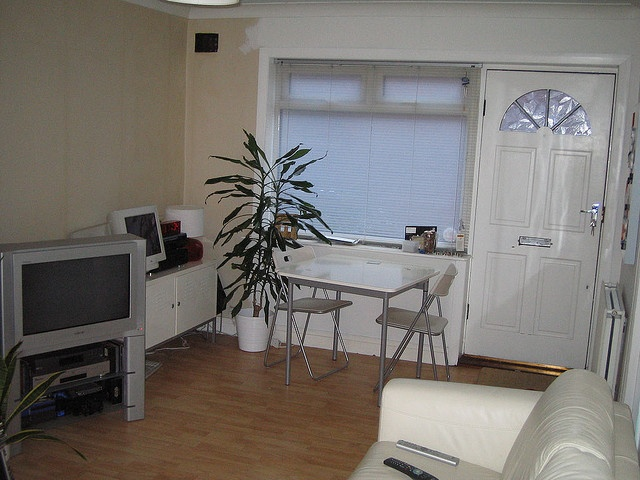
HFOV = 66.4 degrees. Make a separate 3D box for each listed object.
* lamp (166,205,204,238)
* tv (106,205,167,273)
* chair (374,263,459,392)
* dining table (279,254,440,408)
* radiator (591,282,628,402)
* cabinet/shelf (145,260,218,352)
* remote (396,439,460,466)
[{"bbox_3d":[-1.373,-0.180,5.010,0.328,0.259,0.326,-2,5,-39],"label":"lamp"},{"bbox_3d":[-1.649,-0.017,4.383,0.366,0.672,0.488,-6,7,-29],"label":"tv"},{"bbox_3d":[0.831,0.801,4.356,0.632,1.080,0.595,5,3,12],"label":"chair"},{"bbox_3d":[0.359,0.698,4.407,1.180,1.092,1.197,5,8,29],"label":"dining table"},{"bbox_3d":[2.131,0.735,3.557,0.120,0.882,0.702,4,13,22],"label":"radiator"},{"bbox_3d":[-1.456,0.591,4.590,0.327,0.623,1.258,7,8,22],"label":"cabinet/shelf"},{"bbox_3d":[0.541,1.052,2.399,0.206,0.036,0.051,15,56,30],"label":"remote"}]
